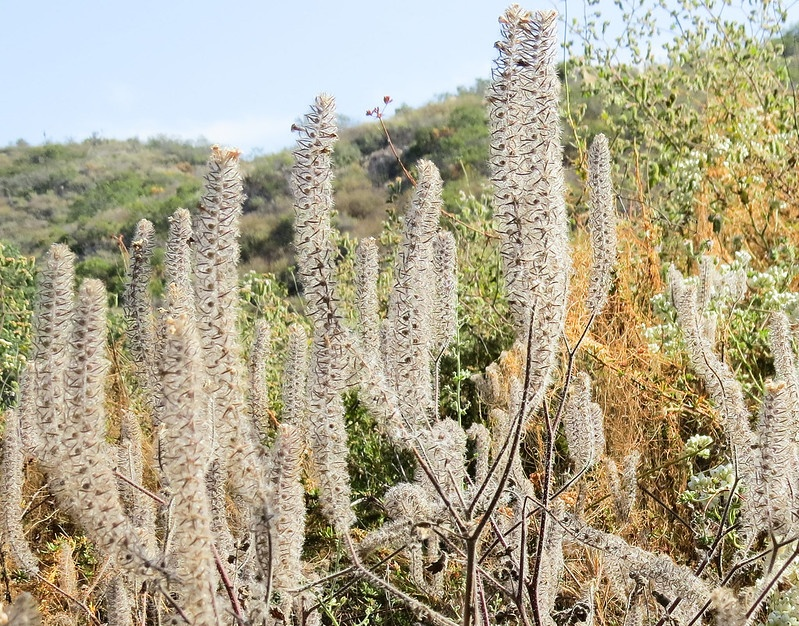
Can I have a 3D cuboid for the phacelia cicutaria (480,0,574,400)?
[{"bbox_3d":[0.916,-0.772,12.012,0.545,2.698,0.250,-6,4,0],"label":"phacelia cicutaria"}]
